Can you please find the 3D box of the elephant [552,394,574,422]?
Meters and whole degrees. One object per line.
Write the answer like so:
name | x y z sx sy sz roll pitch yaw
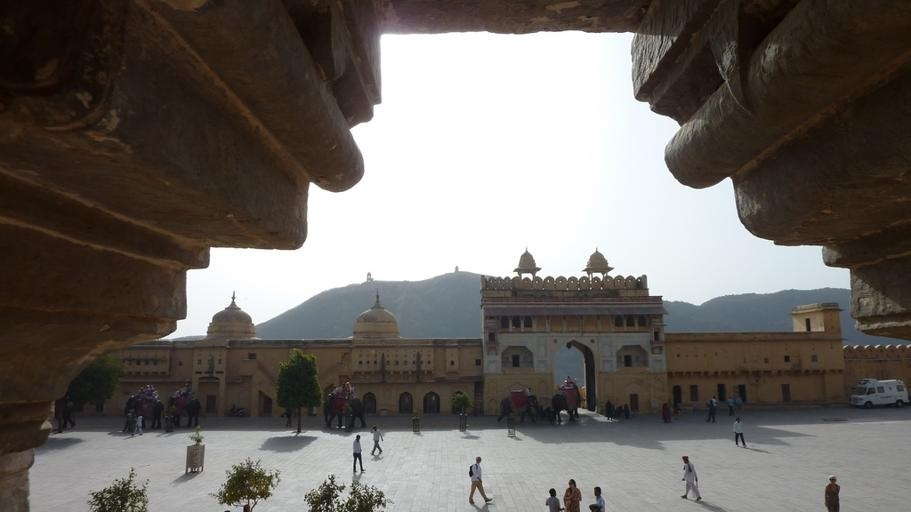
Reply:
elephant | 4.096 5.810 27.725 0.711 1.058 1.799 -4 -14 10

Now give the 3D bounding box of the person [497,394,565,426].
person | 2.839 5.808 27.613 2.718 1.391 1.126 -6 -2 -3

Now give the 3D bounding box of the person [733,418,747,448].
person | 8.006 5.002 20.428 0.309 0.792 1.229 -7 -14 20

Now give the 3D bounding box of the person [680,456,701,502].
person | 4.766 4.489 14.726 0.369 0.824 1.502 -6 -14 16

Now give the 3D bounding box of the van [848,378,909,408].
van | 18.434 5.989 31.423 2.233 1.085 1.120 0 -14 0

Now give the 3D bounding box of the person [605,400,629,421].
person | 6.324 6.171 28.669 1.030 0.679 0.617 13 -20 -40

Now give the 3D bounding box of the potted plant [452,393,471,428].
potted plant | 0.296 5.773 26.783 0.743 1.227 0.762 -9 -18 32
